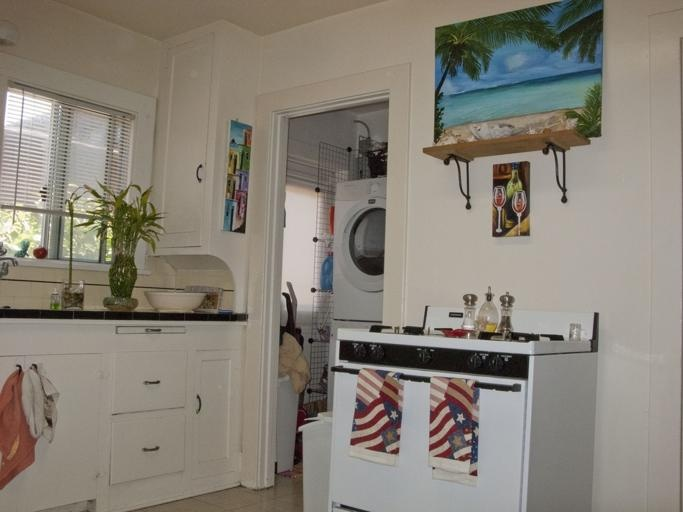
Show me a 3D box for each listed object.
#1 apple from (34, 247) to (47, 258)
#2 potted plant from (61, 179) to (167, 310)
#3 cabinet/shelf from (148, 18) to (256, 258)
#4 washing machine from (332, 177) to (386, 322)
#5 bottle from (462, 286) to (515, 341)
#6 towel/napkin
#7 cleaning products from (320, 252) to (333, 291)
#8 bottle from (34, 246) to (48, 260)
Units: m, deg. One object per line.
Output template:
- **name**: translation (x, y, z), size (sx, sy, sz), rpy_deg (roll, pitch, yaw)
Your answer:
- **apple**: translation (-1.977, -0.022, 3.686), size (0.068, 0.084, 0.069), rpy_deg (-2, -1, 27)
- **potted plant**: translation (-1.522, -0.042, 4.161), size (0.764, 1.102, 0.791), rpy_deg (-3, -5, 24)
- **cabinet/shelf**: translation (-1.012, -0.812, 4.061), size (0.748, 1.612, 0.364), rpy_deg (0, -1, 19)
- **washing machine**: translation (0.133, -0.056, 4.908), size (0.533, 1.246, 0.361), rpy_deg (-1, -1, 19)
- **bottle**: translation (0.732, 0.290, 2.777), size (0.193, 0.216, 0.082), rpy_deg (1, -11, 4)
- **towel/napkin**: translation (0.340, 0.742, 2.450), size (0.526, 0.426, 0.089), rpy_deg (-2, -10, 39)
- **cleaning products**: translation (-0.149, 0.167, 5.462), size (0.097, 0.347, 0.279), rpy_deg (0, -1, -9)
- **bottle**: translation (-1.974, -0.020, 3.689), size (0.075, 0.081, 0.075), rpy_deg (2, 7, 43)
